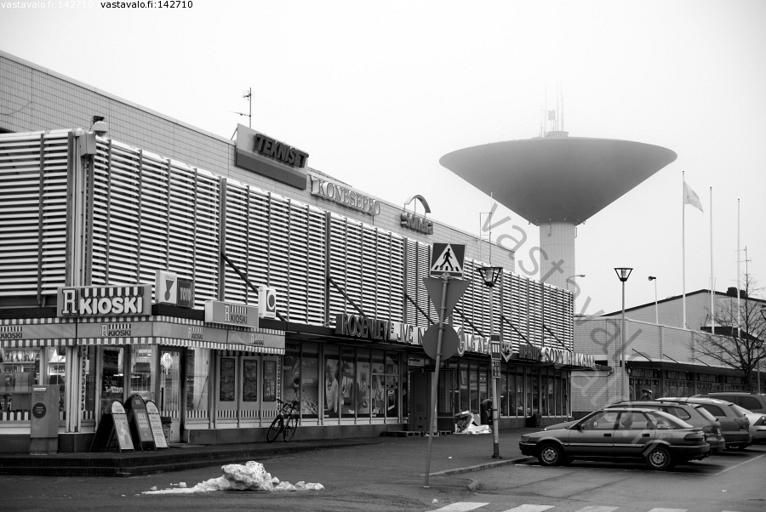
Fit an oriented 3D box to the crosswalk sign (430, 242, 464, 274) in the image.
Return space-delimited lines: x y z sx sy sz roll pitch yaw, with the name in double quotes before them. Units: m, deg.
"crosswalk sign" 1.843 0.082 33.039 0.965 1.093 0.142 0 -6 -11
